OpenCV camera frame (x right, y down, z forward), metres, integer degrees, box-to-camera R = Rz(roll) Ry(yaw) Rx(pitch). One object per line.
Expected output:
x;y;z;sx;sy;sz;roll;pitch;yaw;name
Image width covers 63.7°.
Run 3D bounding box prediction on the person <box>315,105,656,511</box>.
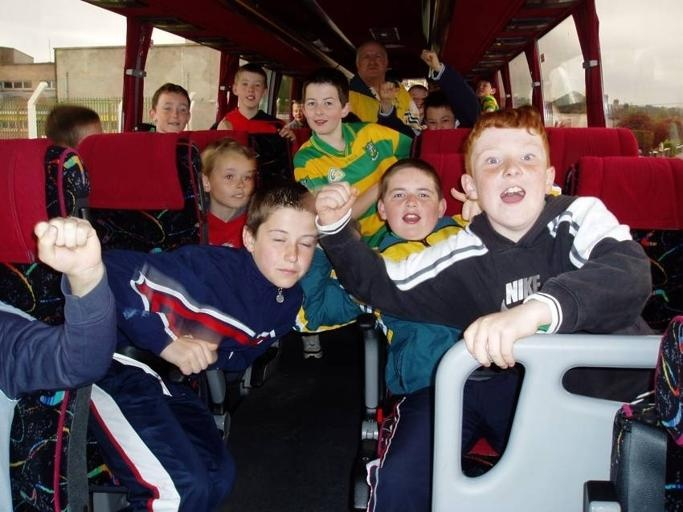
0.536;0.229;1.725;0.889;1.315;0.922;-7;25;19;person
